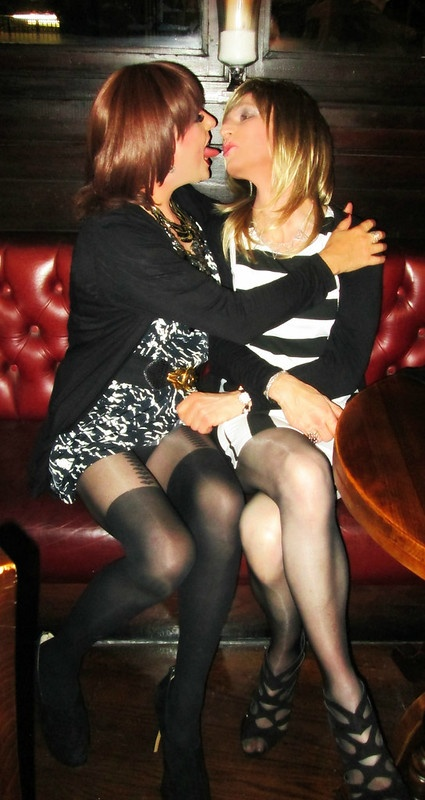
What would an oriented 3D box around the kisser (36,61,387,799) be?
[{"bbox_3d":[0.060,0.087,1.368,0.845,1.361,0.872,4,27,-14],"label":"kisser"}]
